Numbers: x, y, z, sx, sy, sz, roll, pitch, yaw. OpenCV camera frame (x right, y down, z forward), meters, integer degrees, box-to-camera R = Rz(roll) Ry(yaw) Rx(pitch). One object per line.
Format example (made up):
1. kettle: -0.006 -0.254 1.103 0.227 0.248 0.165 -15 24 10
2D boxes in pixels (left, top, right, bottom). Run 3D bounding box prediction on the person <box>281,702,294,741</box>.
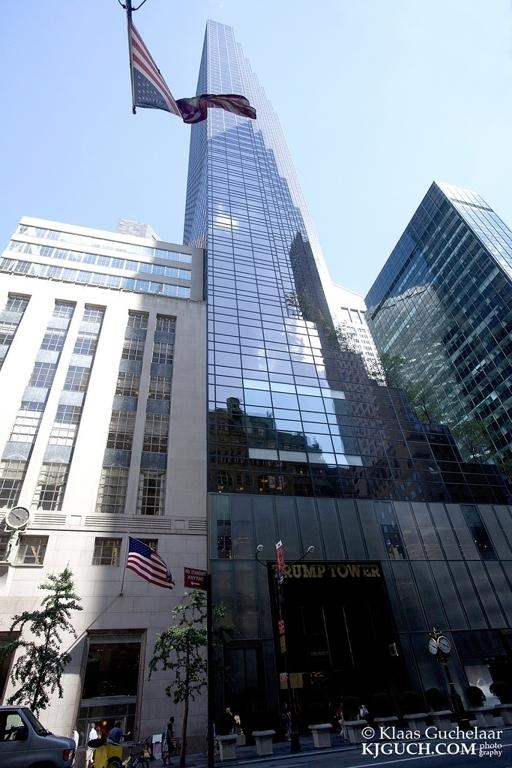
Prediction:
1. person: 1.645 20.287 24.725 0.391 1.562 1.152 -3 -34 -7
